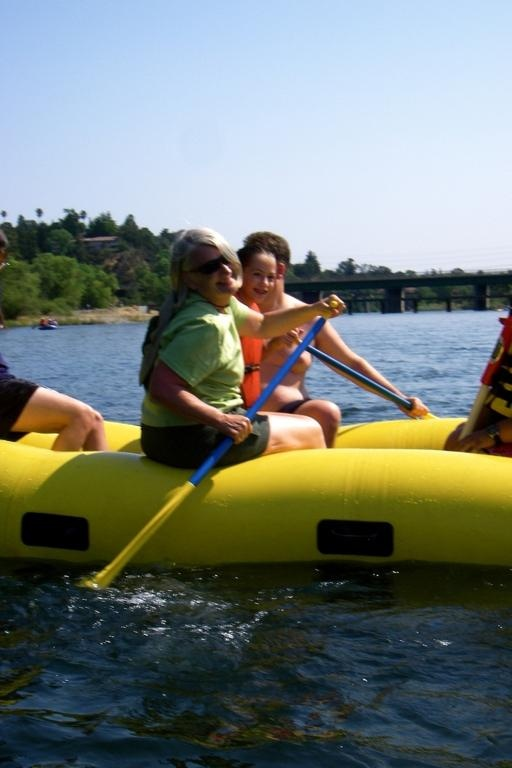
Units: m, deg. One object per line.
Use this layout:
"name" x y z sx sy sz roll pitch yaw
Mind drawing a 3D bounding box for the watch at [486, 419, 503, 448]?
"watch" 0.898 0.190 3.013 0.070 0.086 0.090 -2 -11 24

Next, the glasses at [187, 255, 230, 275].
"glasses" -0.148 -0.406 2.726 0.136 0.065 0.044 -6 12 -28

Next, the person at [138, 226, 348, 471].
"person" -0.120 -0.129 2.909 0.462 0.853 0.751 6 13 33
